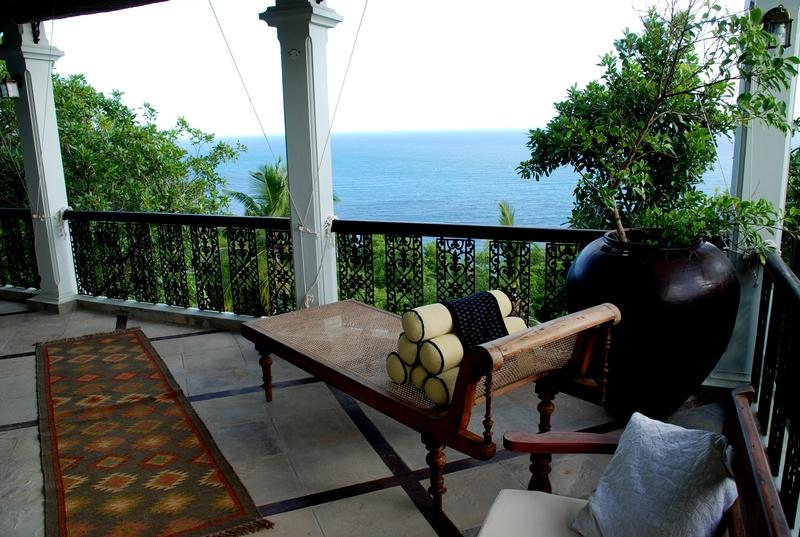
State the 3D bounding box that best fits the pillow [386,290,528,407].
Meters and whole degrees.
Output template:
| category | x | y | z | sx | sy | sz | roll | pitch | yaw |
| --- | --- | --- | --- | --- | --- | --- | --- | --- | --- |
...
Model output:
| category | x | y | z | sx | sy | sz | roll | pitch | yaw |
| --- | --- | --- | --- | --- | --- | --- | --- | --- | --- |
| pillow | 0.339 | 0.340 | 3.111 | 0.696 | 0.475 | 0.528 | -10 | 13 | -34 |
